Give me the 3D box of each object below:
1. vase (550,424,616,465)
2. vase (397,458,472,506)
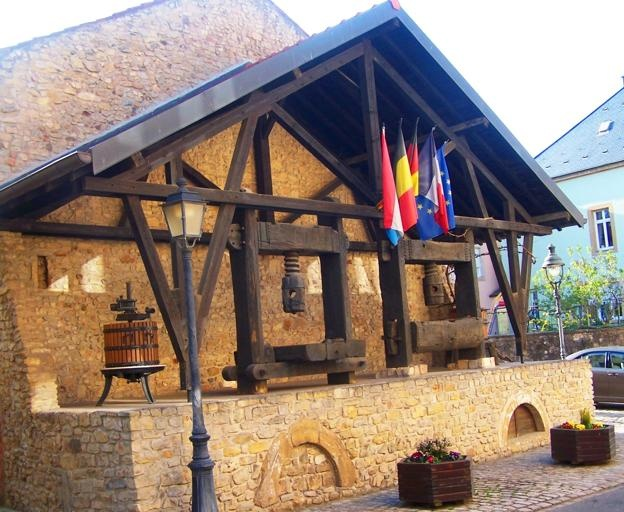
[{"bbox_3d":[4.136,2.806,9.295,0.810,0.416,0.603,-2,-2,-2],"label":"vase"},{"bbox_3d":[1.541,2.788,7.588,0.642,0.373,0.652,-6,-9,33],"label":"vase"}]
